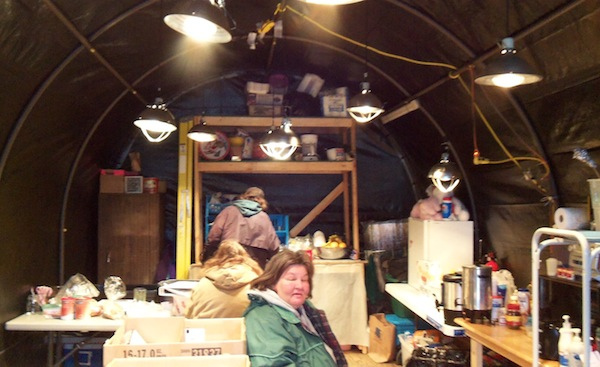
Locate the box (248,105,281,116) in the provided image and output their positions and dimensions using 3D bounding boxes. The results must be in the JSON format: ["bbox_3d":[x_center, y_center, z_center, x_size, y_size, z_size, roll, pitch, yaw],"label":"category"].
[{"bbox_3d":[-0.572,-1.163,7.786,0.509,0.176,0.086,0,-11,0],"label":"box"}]

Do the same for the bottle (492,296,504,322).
[{"bbox_3d":[2.156,1.371,5.337,0.105,0.269,0.138,-7,-13,34],"label":"bottle"}]

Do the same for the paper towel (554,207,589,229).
[{"bbox_3d":[2.759,0.366,5.012,0.234,0.181,0.179,0,6,-20],"label":"paper towel"}]

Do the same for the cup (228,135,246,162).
[{"bbox_3d":[-1.003,-0.558,7.667,0.252,0.353,0.374,-2,-8,12],"label":"cup"}]

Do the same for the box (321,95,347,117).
[{"bbox_3d":[0.527,-1.248,7.897,0.464,0.396,0.265,-1,0,-8],"label":"box"}]

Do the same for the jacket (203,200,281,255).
[{"bbox_3d":[-0.849,0.647,7.196,1.067,0.778,0.359,2,-11,-12],"label":"jacket"}]

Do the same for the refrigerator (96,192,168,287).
[{"bbox_3d":[-2.655,0.966,7.899,0.946,1.725,0.597,2,10,-6],"label":"refrigerator"}]

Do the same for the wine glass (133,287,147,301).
[{"bbox_3d":[-1.881,1.278,5.661,0.145,0.140,0.143,2,-3,21],"label":"wine glass"}]

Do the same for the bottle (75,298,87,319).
[{"bbox_3d":[-2.469,1.411,5.487,0.135,0.222,0.082,2,-11,-8],"label":"bottle"}]

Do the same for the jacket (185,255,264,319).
[{"bbox_3d":[-0.812,1.096,4.953,0.698,0.531,0.238,2,-11,-9],"label":"jacket"}]

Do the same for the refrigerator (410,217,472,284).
[{"bbox_3d":[1.860,0.766,6.835,0.792,0.785,1.123,1,7,-5],"label":"refrigerator"}]

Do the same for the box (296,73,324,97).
[{"bbox_3d":[0.159,-1.639,8.140,0.429,0.317,0.246,1,-10,-2],"label":"box"}]

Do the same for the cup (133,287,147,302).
[{"bbox_3d":[-1.859,1.283,5.644,0.151,0.139,0.148,2,-6,0],"label":"cup"}]

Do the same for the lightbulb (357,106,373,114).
[{"bbox_3d":[0.770,-0.873,5.798,0.177,0.062,0.398,-1,-10,9],"label":"lightbulb"}]

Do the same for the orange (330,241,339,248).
[{"bbox_3d":[0.515,0.925,7.428,0.081,0.091,0.078,22,-46,-7],"label":"orange"}]

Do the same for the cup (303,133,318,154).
[{"bbox_3d":[0.151,-0.622,7.800,0.209,0.302,0.116,1,-11,-3],"label":"cup"}]

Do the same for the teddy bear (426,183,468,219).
[{"bbox_3d":[2.039,0.250,6.799,0.354,0.517,0.477,4,-11,-21],"label":"teddy bear"}]
